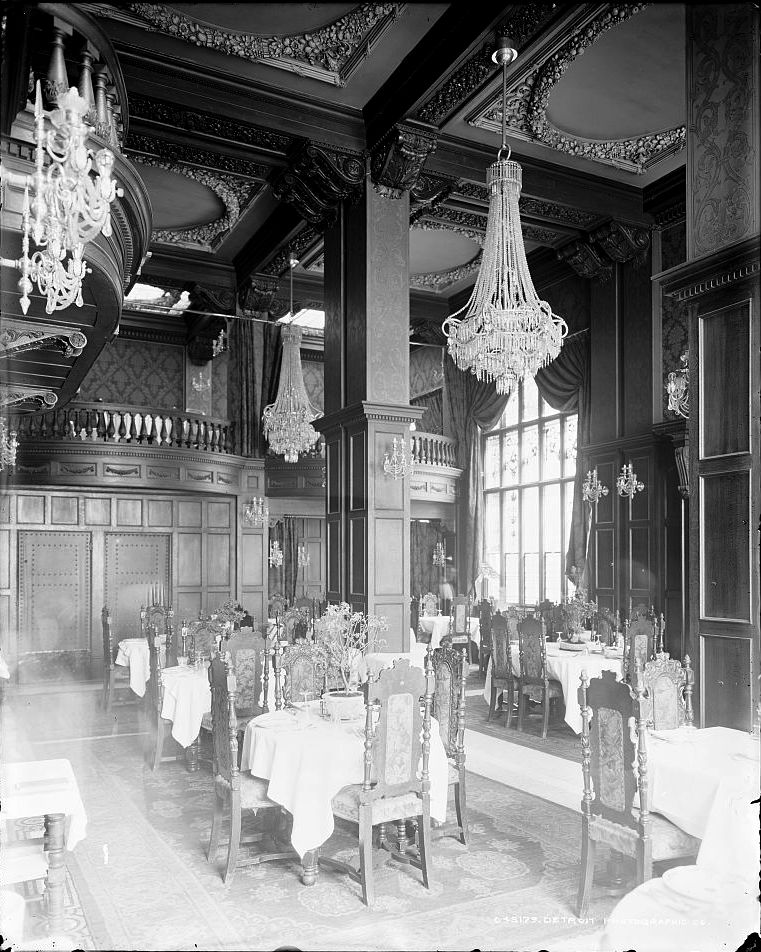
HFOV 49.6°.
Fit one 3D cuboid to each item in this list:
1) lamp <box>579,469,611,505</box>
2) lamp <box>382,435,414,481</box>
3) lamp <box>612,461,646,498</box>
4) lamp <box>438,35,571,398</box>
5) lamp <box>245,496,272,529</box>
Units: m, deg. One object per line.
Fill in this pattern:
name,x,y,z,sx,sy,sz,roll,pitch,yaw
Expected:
lamp,2.582,0.151,9.920,0.275,0.578,0.186,-2,-1,-8
lamp,0.161,-0.176,7.848,0.292,0.421,0.136,2,-4,-27
lamp,3.008,0.075,9.852,0.229,0.481,0.163,-1,1,7
lamp,1.046,-2.142,6.990,0.931,3.000,1.815,-1,-4,9
lamp,-1.976,0.580,13.141,0.392,0.477,0.454,2,-5,-29
